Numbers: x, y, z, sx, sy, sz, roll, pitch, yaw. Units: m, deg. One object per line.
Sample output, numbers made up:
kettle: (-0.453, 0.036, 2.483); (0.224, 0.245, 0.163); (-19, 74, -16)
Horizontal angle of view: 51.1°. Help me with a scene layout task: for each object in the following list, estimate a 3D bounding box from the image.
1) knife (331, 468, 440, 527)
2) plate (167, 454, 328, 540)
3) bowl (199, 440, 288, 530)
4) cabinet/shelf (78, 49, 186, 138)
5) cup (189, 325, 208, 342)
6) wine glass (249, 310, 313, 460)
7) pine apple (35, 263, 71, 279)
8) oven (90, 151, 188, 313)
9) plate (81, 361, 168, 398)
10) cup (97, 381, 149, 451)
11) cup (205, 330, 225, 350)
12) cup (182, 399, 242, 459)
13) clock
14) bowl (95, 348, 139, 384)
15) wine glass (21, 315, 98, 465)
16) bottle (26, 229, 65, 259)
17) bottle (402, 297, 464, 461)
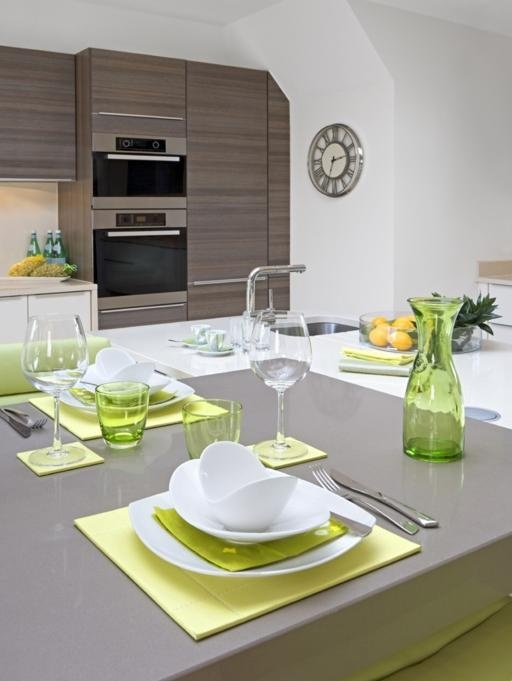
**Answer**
knife: (0.145, 0.187, 0.671); (0.030, 0.017, 0.224); (-18, 14, -20)
plate: (-0.010, 0.136, 0.525); (0.091, 0.023, 0.097); (3, 12, -16)
bowl: (-0.013, 0.119, 0.536); (0.062, 0.046, 0.118); (-2, 7, -15)
cabinet/shelf: (-0.888, -1.720, 3.819); (0.435, 0.610, 0.848); (7, 27, -1)
cup: (-0.200, -0.032, 1.971); (0.067, 0.066, 0.062); (2, 8, 0)
wine glass: (0.037, 0.056, 0.860); (0.089, 0.208, 0.244); (-1, 7, 2)
pine apple: (-1.340, -0.460, 3.523); (0.136, 0.061, 0.136); (1, 8, 0)
oven: (-0.881, -0.784, 3.855); (0.668, 1.136, 0.569); (-4, 22, -23)
plate: (-0.262, 0.067, 1.037); (0.095, 0.033, 0.091); (2, 1, 19)
cup: (-0.203, 0.114, 0.869); (0.093, 0.106, 0.095); (0, 3, 0)
cup: (-0.141, -0.007, 1.835); (0.067, 0.063, 0.062); (0, 12, 0)
cup: (-0.069, 0.108, 0.726); (0.080, 0.089, 0.081); (0, 2, 0)
clock: (0.555, -1.264, 3.784); (0.102, 0.492, 0.469); (-5, 8, -34)
bowl: (-0.275, 0.047, 1.057); (0.064, 0.056, 0.083); (0, 2, -32)
wine glass: (-0.303, 0.064, 0.818); (0.094, 0.203, 0.232); (-3, 7, -18)
bottle: (-1.491, -0.672, 3.841); (0.338, 0.229, 0.172); (2, 7, 20)
bottle: (0.262, 0.057, 0.786); (0.084, 0.232, 0.054); (1, 7, 17)
